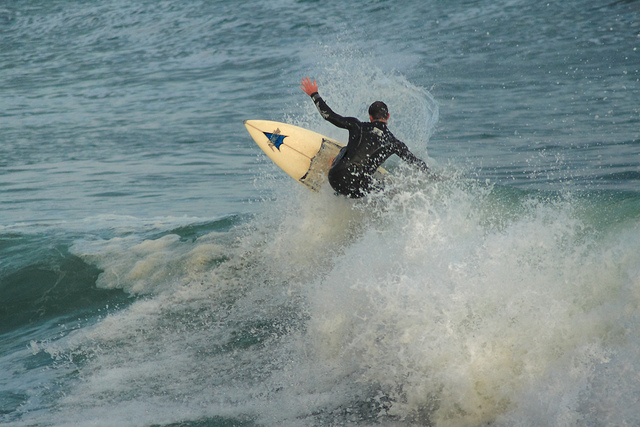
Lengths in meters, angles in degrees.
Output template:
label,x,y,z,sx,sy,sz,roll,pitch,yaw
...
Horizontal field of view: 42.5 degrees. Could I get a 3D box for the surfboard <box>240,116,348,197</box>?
label,x,y,z,sx,sy,sz,roll,pitch,yaw
surfboard,-0.773,-1.615,20.255,0.415,3.749,1.099,24,92,36

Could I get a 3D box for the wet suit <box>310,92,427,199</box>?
label,x,y,z,sx,sy,sz,roll,pitch,yaw
wet suit,0.945,-1.487,19.141,1.491,3.428,1.397,-5,14,-23
